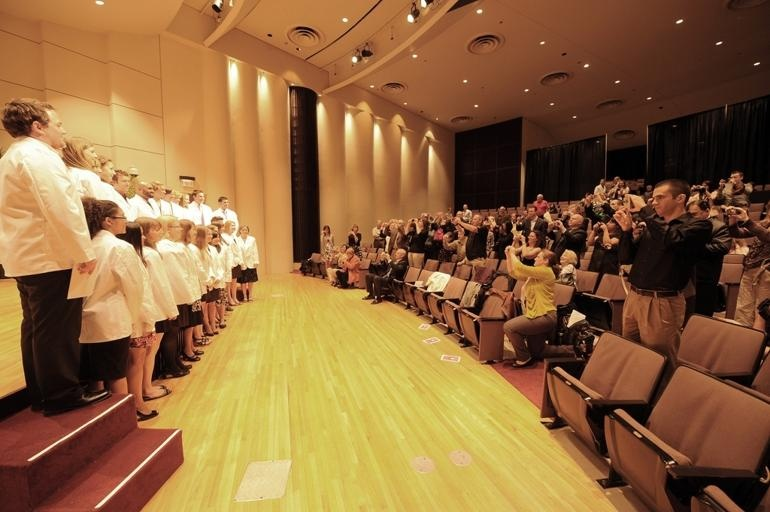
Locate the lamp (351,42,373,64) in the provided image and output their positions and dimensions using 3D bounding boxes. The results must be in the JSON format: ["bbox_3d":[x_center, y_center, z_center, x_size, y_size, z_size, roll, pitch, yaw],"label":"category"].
[{"bbox_3d":[-0.626,-5.922,14.362,0.690,0.487,0.191,-13,14,27],"label":"lamp"}]
